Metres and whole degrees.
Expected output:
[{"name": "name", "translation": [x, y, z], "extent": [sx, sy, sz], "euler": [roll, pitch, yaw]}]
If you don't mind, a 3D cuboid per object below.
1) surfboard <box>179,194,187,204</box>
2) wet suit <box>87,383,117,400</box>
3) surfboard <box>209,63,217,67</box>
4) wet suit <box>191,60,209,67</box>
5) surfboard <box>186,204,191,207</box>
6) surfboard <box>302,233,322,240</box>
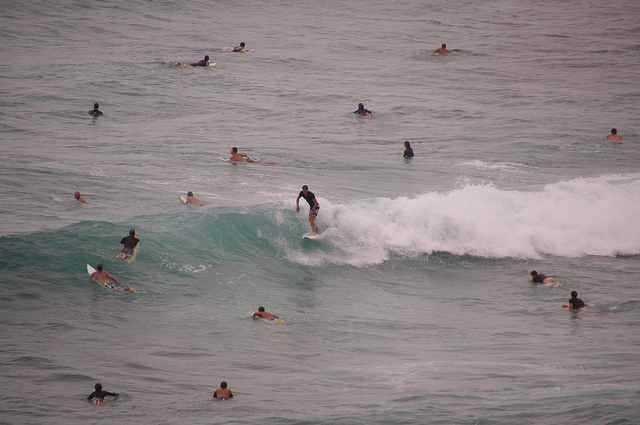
[{"name": "surfboard", "translation": [-7.885, -0.712, 65.638], "extent": [0.288, 1.504, 0.084], "euler": [16, 96, -18]}, {"name": "wet suit", "translation": [-10.637, 8.737, 55.591], "extent": [1.162, 0.291, 0.721], "euler": [2, 74, -3]}, {"name": "surfboard", "translation": [-7.932, -10.810, 84.519], "extent": [0.436, 0.471, 0.156], "euler": [-5, 106, -2]}, {"name": "wet suit", "translation": [-8.929, -10.783, 83.623], "extent": [1.380, 0.336, 0.407], "euler": [-9, 59, -27]}, {"name": "surfboard", "translation": [-7.482, -0.347, 65.034], "extent": [0.237, 0.044, 0.150], "euler": [0, 65, -1]}, {"name": "surfboard", "translation": [-0.394, 1.390, 64.779], "extent": [1.237, 0.294, 0.336], "euler": [8, 101, -4]}]
